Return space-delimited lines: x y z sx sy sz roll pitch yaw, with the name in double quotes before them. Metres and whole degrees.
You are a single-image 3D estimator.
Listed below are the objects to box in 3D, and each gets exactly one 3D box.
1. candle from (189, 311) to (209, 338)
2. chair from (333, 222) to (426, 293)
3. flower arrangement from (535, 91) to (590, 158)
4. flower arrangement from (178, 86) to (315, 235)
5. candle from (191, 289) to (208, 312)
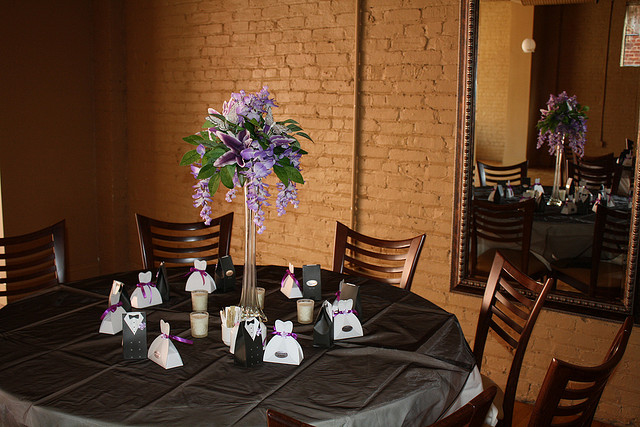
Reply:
"candle" -0.519 0.492 2.017 0.079 0.086 0.078 2 -1 -20
"chair" 0.390 0.242 3.156 0.443 0.758 0.492 7 0 31
"flower arrangement" 1.643 -0.627 3.112 0.296 0.347 0.317 2 13 35
"flower arrangement" -0.296 -0.287 2.170 0.646 0.685 0.598 0 -18 -3
"candle" -0.564 0.412 2.157 0.086 0.096 0.087 2 2 41
